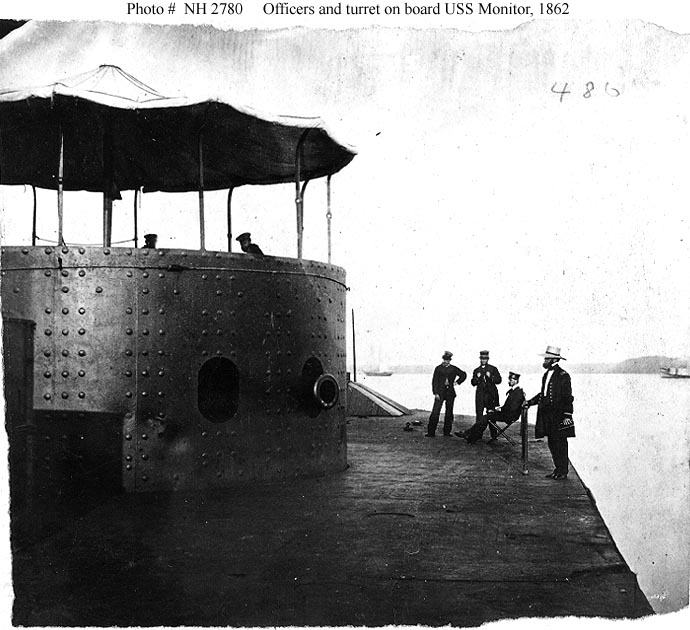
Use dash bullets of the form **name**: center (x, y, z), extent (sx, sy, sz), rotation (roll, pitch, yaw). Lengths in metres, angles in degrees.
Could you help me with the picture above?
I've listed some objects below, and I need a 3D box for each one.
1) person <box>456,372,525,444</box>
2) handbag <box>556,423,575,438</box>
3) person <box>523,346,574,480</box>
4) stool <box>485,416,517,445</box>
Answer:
- **person**: center (2.515, 1.554, 19.015), extent (0.981, 1.275, 1.091), rotation (2, 6, 9)
- **handbag**: center (2.947, 1.541, 14.982), extent (0.159, 0.156, 0.141), rotation (-7, -10, 36)
- **person**: center (2.771, 1.272, 15.130), extent (0.589, 1.790, 1.342), rotation (2, 6, 10)
- **stool**: center (2.644, 1.934, 19.177), extent (0.479, 0.695, 0.658), rotation (2, -11, 3)
